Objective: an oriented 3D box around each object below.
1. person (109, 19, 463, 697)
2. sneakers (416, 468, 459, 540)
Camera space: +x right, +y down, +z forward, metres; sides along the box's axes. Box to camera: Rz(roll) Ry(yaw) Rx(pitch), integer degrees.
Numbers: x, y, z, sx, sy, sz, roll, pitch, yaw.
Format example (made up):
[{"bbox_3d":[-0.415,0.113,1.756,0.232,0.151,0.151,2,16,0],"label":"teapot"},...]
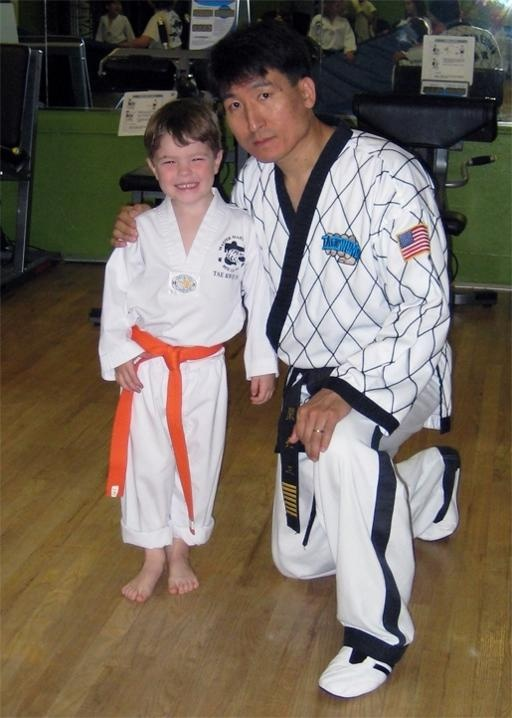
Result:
[{"bbox_3d":[0.153,-0.015,1.122,0.481,1.094,0.643,1,22,8],"label":"person"},{"bbox_3d":[0.405,0.337,1.494,0.049,0.162,0.131,6,7,32],"label":"sneakers"}]
